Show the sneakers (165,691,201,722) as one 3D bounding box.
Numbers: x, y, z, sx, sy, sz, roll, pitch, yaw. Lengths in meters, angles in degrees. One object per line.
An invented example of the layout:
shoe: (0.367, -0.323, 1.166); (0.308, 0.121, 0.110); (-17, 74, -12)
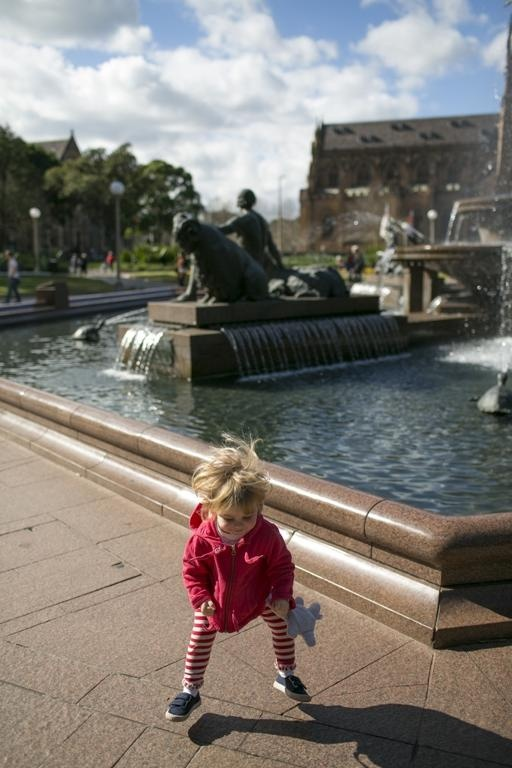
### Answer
sneakers: (-0.239, 1.064, 2.299); (0.065, 0.074, 0.140); (3, 10, 23)

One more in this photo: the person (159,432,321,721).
person: (-0.040, 0.649, 2.348); (0.499, 0.921, 0.401); (0, 10, 4)

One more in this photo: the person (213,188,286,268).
person: (-0.025, -2.613, 12.013); (0.572, 1.388, 1.921); (2, 10, 16)

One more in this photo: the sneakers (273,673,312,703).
sneakers: (0.126, 1.052, 2.391); (0.054, 0.058, 0.143); (12, -14, -29)
